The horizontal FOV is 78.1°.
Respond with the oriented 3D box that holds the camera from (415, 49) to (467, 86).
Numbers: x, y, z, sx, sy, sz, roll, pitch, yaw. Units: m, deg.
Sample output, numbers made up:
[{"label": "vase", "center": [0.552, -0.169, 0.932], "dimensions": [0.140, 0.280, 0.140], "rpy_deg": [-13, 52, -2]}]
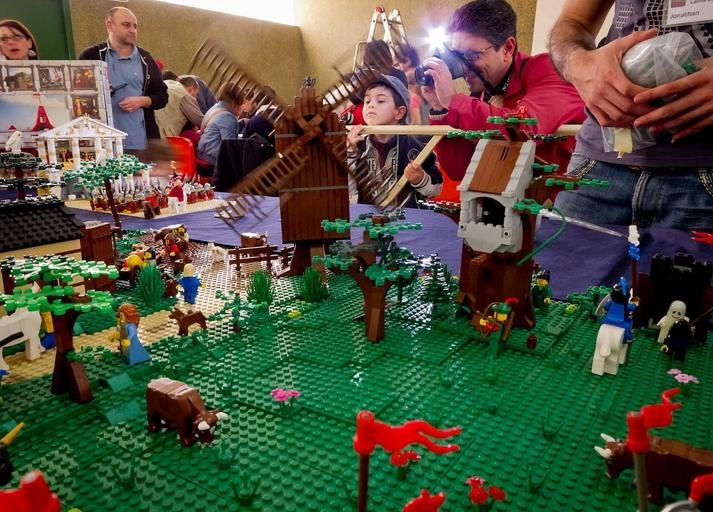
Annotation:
[{"label": "camera", "center": [0.774, -1.713, 4.065], "dimensions": [0.410, 0.292, 0.195], "rpy_deg": [-12, 35, -3]}]
